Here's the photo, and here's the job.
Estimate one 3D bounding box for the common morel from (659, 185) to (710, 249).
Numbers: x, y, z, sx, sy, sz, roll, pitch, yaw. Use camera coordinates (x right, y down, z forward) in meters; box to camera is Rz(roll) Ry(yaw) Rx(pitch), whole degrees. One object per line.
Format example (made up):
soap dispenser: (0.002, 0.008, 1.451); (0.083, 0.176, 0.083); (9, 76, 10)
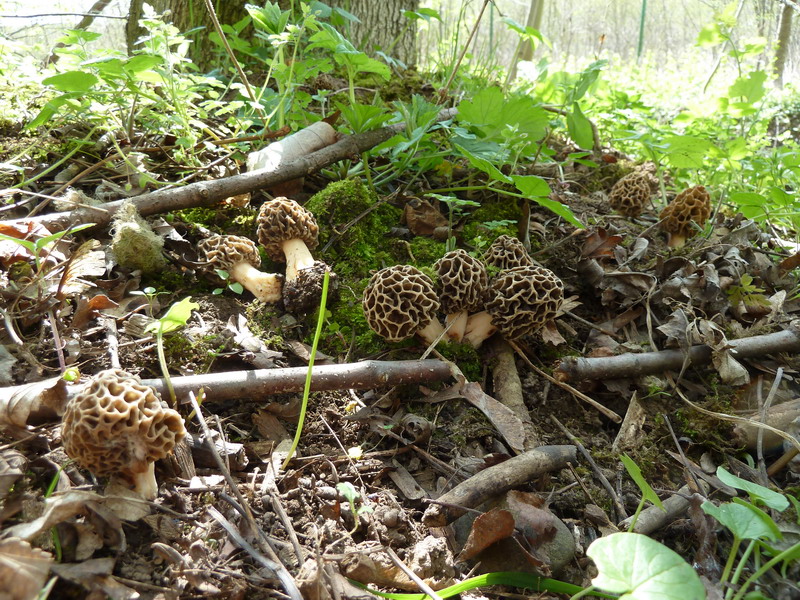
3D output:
common morel: (2.113, -0.618, 4.739); (0.317, 0.477, 0.272); (23, 29, 17)

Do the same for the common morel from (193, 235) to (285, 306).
common morel: (-0.982, -0.204, 4.093); (0.417, 0.271, 0.684); (-18, 40, -43)

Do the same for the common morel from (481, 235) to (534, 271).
common morel: (0.703, -0.302, 4.150); (0.336, 0.220, 0.273); (-7, 16, -17)
